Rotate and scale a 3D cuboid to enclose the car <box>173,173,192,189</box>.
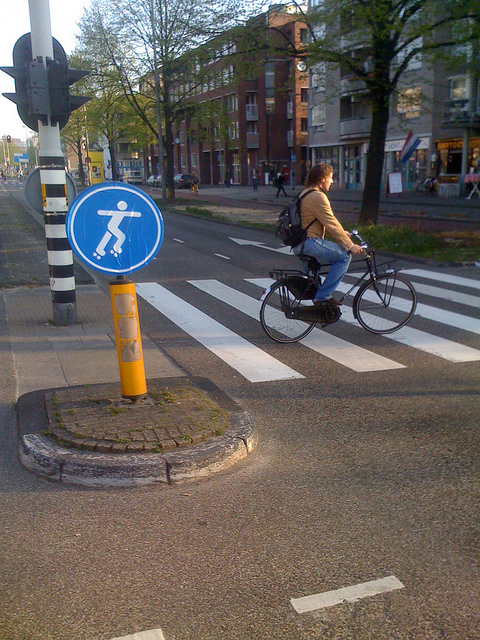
[{"bbox_3d":[-6.066,-14.253,60.143,1.509,1.568,2.869,4,11,-11],"label":"car"}]

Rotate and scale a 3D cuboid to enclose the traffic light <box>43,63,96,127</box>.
[{"bbox_3d":[-1.868,-2.373,6.122,0.517,0.596,0.411,0,12,-28],"label":"traffic light"}]

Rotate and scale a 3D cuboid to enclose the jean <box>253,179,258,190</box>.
[{"bbox_3d":[1.190,-11.002,47.250,0.165,0.742,0.281,9,11,12],"label":"jean"}]

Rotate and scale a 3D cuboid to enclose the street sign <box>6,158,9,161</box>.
[{"bbox_3d":[-81.889,-55.688,202.013,0.796,1.013,1.735,2,11,-19],"label":"street sign"}]

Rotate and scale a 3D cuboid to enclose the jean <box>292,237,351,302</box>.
[{"bbox_3d":[0.870,-0.547,6.449,0.716,0.805,0.667,5,13,-2],"label":"jean"}]

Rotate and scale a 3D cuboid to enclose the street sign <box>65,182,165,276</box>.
[{"bbox_3d":[-0.850,-0.601,3.856,0.670,0.612,0.053,-2,9,-31],"label":"street sign"}]

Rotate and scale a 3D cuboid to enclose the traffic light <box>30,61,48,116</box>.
[{"bbox_3d":[-2.075,-2.364,5.928,0.056,0.522,0.221,32,34,28],"label":"traffic light"}]

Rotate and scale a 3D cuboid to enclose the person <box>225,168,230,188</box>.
[{"bbox_3d":[-1.265,-13.980,58.055,0.347,1.569,1.245,5,11,-6],"label":"person"}]

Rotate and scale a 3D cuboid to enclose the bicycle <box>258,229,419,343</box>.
[{"bbox_3d":[1.137,-0.329,6.578,1.999,1.075,0.721,-4,12,-17],"label":"bicycle"}]

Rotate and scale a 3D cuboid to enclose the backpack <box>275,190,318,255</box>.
[{"bbox_3d":[0.595,-1.026,6.236,0.414,0.613,0.477,7,3,2],"label":"backpack"}]

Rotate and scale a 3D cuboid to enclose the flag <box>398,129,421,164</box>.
[{"bbox_3d":[7.660,-7.771,25.991,0.674,1.282,1.151,9,11,17],"label":"flag"}]

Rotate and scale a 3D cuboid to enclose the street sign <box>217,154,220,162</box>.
[{"bbox_3d":[-2.721,-19.576,70.177,0.172,0.725,0.600,2,11,-19],"label":"street sign"}]

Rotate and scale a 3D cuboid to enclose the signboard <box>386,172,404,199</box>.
[{"bbox_3d":[8.499,-7.463,31.638,0.780,1.097,1.050,9,11,18],"label":"signboard"}]
